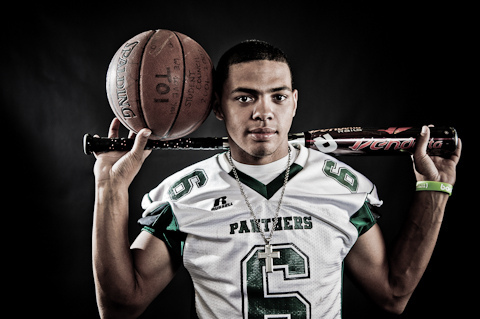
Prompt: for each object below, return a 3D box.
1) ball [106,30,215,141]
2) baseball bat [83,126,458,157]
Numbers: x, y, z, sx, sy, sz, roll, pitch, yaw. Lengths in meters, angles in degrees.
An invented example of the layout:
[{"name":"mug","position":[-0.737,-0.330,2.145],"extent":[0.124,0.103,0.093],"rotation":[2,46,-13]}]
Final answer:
[{"name":"ball","position":[-0.356,-0.358,2.558],"extent":[0.503,0.489,0.508],"rotation":[5,-5,0]},{"name":"baseball bat","position":[0.216,-0.092,2.554],"extent":[1.631,0.183,0.176],"rotation":[-1,13,-3]}]
